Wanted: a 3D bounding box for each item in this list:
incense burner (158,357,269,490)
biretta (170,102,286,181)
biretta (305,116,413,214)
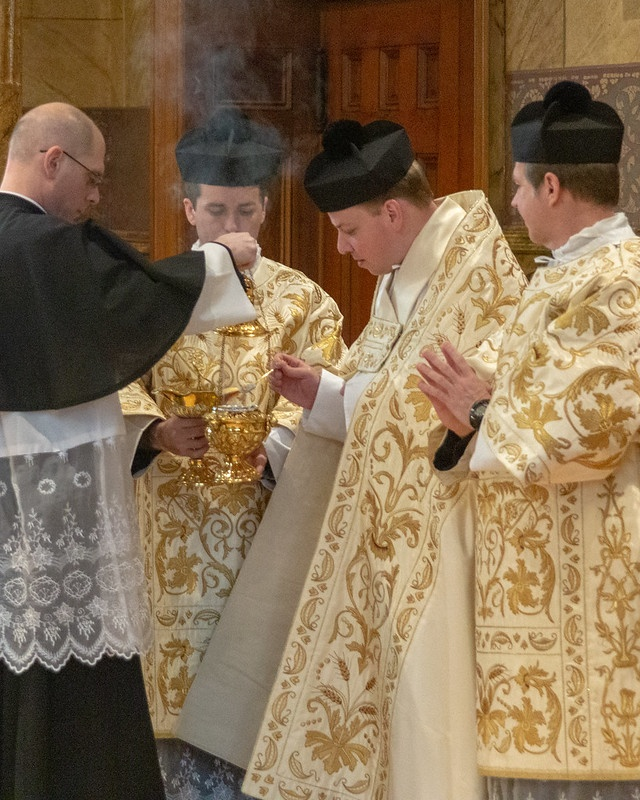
[{"bbox_3d":[-0.189,0.055,2.550,0.231,0.243,0.250,-10,19,-31],"label":"incense burner"},{"bbox_3d":[-0.225,-0.669,2.895,0.301,0.196,0.299,14,23,40],"label":"biretta"},{"bbox_3d":[0.076,-0.551,2.666,0.255,0.228,0.277,-9,20,-4],"label":"biretta"}]
